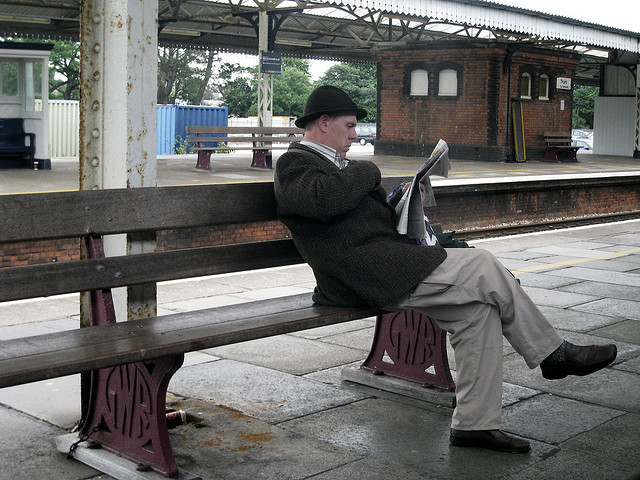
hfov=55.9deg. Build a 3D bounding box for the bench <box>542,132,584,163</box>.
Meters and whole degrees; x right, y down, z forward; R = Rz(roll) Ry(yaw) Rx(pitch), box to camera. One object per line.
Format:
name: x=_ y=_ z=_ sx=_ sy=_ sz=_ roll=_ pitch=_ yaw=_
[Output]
bench: x=9.605 y=-3.703 z=23.932 sx=1.726 sy=1.194 sz=0.991 roll=-6 pitch=11 yaw=-32
